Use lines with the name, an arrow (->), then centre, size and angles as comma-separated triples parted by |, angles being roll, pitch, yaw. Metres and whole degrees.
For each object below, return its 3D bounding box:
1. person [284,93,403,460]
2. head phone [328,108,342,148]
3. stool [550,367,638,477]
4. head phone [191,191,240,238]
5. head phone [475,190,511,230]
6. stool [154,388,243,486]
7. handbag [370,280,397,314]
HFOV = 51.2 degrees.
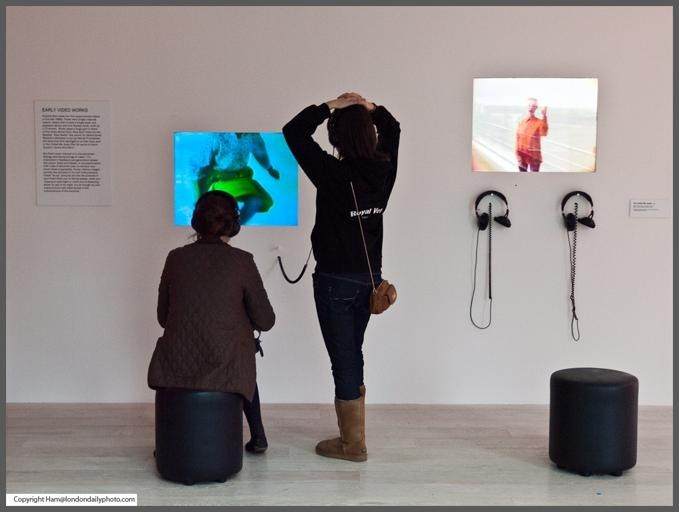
person -> 0.032, 0.148, 4.892 | 0.784, 2.495, 0.486 | -1, 10, -3
head phone -> -0.040, -0.872, 4.786 | 0.078, 0.211, 0.148 | 5, 4, -4
stool -> 1.768, 1.129, 4.922 | 0.589, 0.706, 0.621 | -2, 8, 6
head phone -> -0.823, -0.277, 4.720 | 0.387, 0.378, 0.158 | 1, -2, -3
head phone -> 1.295, -0.385, 5.943 | 0.308, 0.341, 0.124 | -2, 11, -13
stool -> -0.889, 1.139, 4.782 | 0.554, 0.668, 0.586 | -1, 0, -5
handbag -> 0.278, 0.274, 4.843 | 0.109, 0.202, 0.202 | 18, 15, 22
